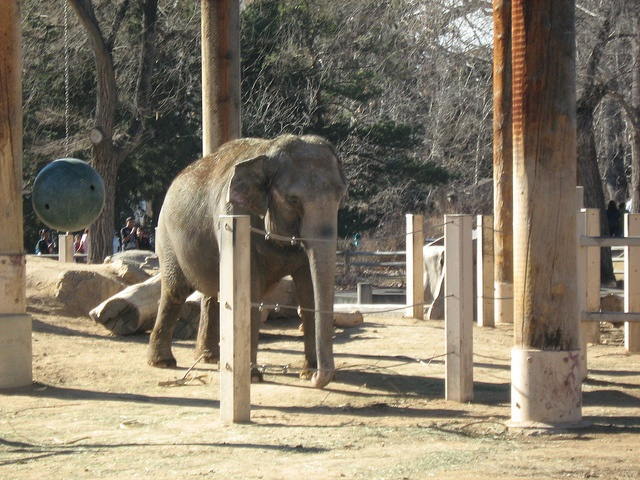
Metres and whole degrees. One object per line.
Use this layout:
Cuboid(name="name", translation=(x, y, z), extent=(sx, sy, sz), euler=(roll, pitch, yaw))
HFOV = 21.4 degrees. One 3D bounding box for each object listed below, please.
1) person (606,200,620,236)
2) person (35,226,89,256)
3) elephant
Cuboid(name="person", translation=(6.893, -0.493, 39.862), extent=(0.190, 0.844, 0.514), euler=(5, 7, 44))
Cuboid(name="person", translation=(-6.090, 0.020, 39.579), extent=(1.044, 0.425, 1.197), euler=(-5, -13, -2))
Cuboid(name="elephant", translation=(-1.114, 0.325, 27.161), extent=(2.264, 3.786, 4.372), euler=(-2, 1, -39))
